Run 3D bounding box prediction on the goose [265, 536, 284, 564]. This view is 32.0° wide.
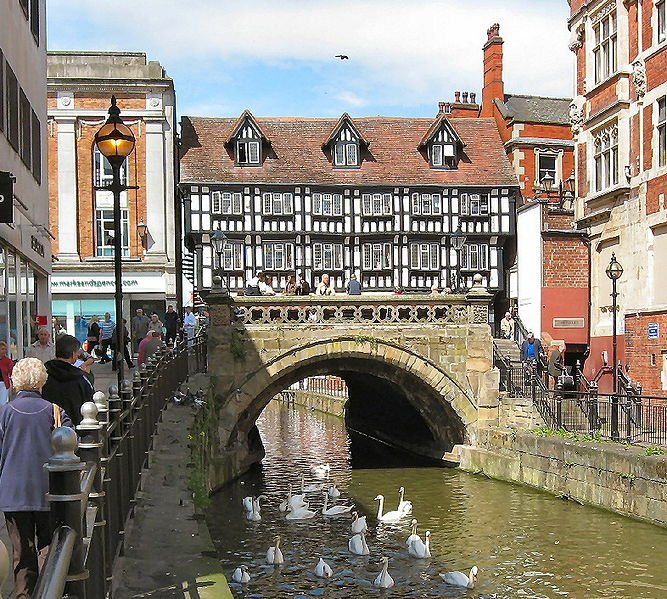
[{"bbox_3d":[-1.097,4.699,21.656,0.319,0.483,0.445,0,-7,-4],"label":"goose"}]

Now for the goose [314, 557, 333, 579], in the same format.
[{"bbox_3d":[-0.176,4.830,20.794,0.327,0.312,0.435,-1,-7,0],"label":"goose"}]

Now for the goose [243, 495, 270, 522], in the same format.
[{"bbox_3d":[-1.784,4.636,25.575,0.379,0.495,0.839,0,-7,-5],"label":"goose"}]

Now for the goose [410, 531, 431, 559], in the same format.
[{"bbox_3d":[1.631,4.742,22.375,0.267,0.714,0.823,3,-6,20],"label":"goose"}]

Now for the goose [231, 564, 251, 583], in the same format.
[{"bbox_3d":[-1.604,4.817,20.333,0.164,0.304,0.384,2,-3,-8],"label":"goose"}]
